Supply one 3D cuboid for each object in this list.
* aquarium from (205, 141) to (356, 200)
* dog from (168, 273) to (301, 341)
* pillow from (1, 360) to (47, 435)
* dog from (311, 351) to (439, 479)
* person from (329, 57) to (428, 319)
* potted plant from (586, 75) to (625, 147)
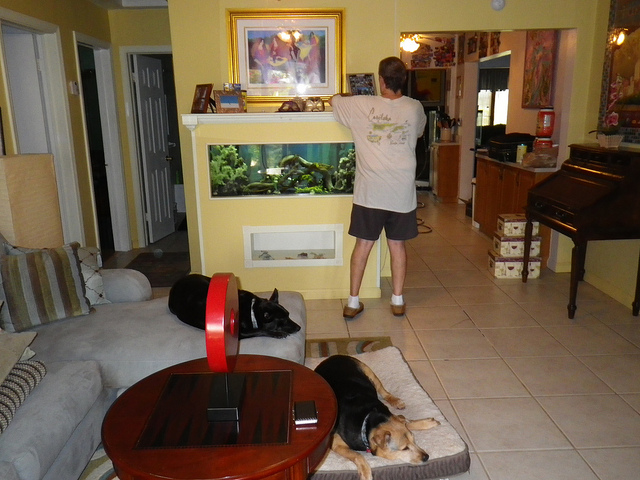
[{"bbox_3d":[-0.339,-0.606,4.084,1.272,0.484,0.057,-1,19,-3],"label":"aquarium"},{"bbox_3d":[-0.522,0.396,2.721,0.802,0.296,0.387,14,16,5],"label":"dog"},{"bbox_3d":[-1.384,0.683,2.123,0.126,0.117,0.427,-1,19,-2],"label":"pillow"},{"bbox_3d":[0.245,0.914,2.340,0.450,0.254,0.711,-20,26,-17],"label":"dog"},{"bbox_3d":[0.472,-0.398,3.914,0.729,2.119,0.594,3,20,10],"label":"person"},{"bbox_3d":[2.620,-1.155,4.197,0.256,0.613,0.494,10,22,27],"label":"potted plant"}]
